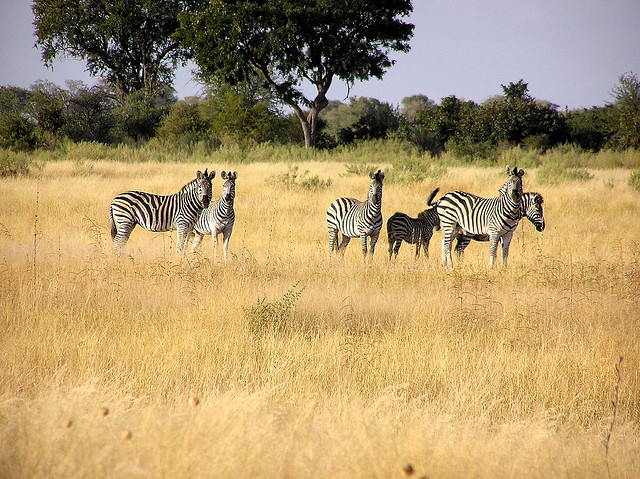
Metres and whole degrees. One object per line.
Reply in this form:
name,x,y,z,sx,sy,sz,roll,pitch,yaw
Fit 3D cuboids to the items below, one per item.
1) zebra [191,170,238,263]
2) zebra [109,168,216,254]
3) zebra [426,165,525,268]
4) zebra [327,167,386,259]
zebra,-2.491,-0.328,18.919,0.572,2.107,2.557,2,-11,-25
zebra,-3.815,-0.562,19.257,2.630,2.280,0.814,0,6,1
zebra,3.799,-0.465,19.163,0.865,2.538,3.112,-4,3,-35
zebra,0.835,-0.668,19.637,1.325,2.256,2.834,1,8,1
